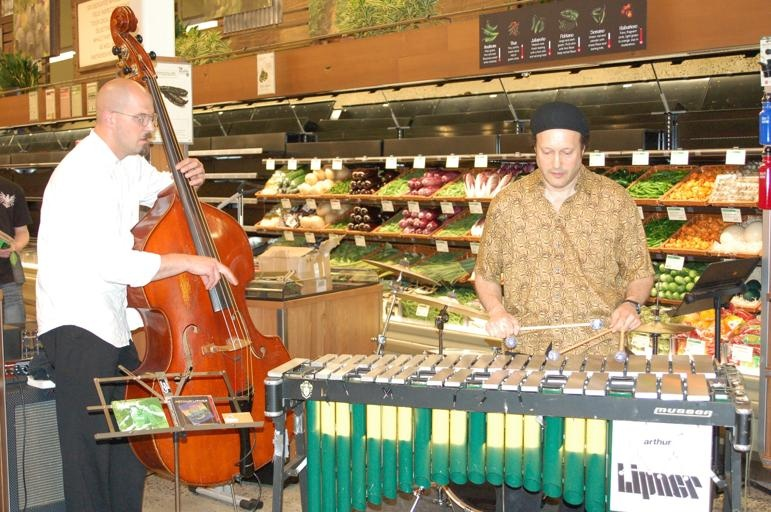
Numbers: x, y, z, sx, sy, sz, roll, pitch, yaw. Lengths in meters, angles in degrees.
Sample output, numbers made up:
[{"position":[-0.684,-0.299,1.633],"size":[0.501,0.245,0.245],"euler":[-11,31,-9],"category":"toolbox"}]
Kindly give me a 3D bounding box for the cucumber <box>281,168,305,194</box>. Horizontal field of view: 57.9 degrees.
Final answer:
[{"position":[-1.073,-0.873,8.168],"size":[0.139,0.420,0.136],"euler":[30,-43,-10],"category":"cucumber"}]

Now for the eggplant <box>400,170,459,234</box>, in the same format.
[{"position":[0.384,-0.541,7.206],"size":[0.263,0.734,0.478],"euler":[19,2,-43],"category":"eggplant"}]

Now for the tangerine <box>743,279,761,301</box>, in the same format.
[{"position":[3.055,0.287,5.802],"size":[0.119,0.148,0.146],"euler":[5,15,33],"category":"tangerine"}]

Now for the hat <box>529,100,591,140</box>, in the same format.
[{"position":[0.913,-0.737,3.743],"size":[0.324,0.187,0.308],"euler":[8,2,32],"category":"hat"}]

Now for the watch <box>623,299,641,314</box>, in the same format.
[{"position":[1.319,0.258,3.735],"size":[0.089,0.094,0.061],"euler":[1,45,38],"category":"watch"}]
